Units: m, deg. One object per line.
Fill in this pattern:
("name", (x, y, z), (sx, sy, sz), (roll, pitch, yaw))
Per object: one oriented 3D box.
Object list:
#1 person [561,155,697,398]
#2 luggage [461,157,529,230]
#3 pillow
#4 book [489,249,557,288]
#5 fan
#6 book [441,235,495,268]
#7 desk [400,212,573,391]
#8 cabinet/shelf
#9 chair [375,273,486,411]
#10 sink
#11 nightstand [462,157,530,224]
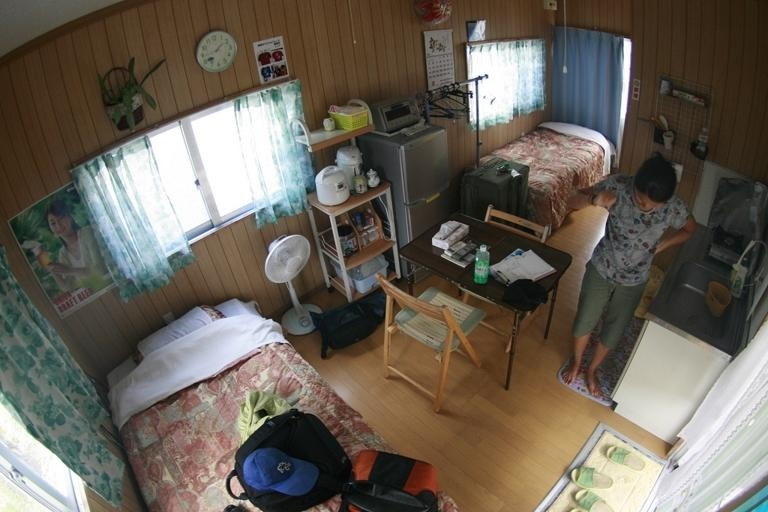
("person", (1.743, 0.176, 3.828), (0.796, 1.853, 0.506), (5, 29, -3))
("luggage", (1.223, -0.748, 5.430), (0.649, 0.501, 0.631), (-28, 36, -30))
("pillow", (-1.730, 0.596, 4.402), (0.628, 0.370, 0.746), (22, 17, 27))
("book", (1.082, 0.103, 4.020), (0.438, 0.084, 0.348), (-24, 37, -26))
("fan", (-0.901, 0.184, 4.806), (0.429, 0.970, 0.477), (-10, 31, -29))
("book", (0.674, -0.051, 4.200), (0.284, 0.070, 0.261), (-34, 48, -31))
("desk", (0.863, 0.438, 4.330), (0.832, 0.957, 1.180), (-28, 37, -33))
("cabinet/shelf", (-0.315, -0.475, 4.887), (0.791, 1.841, 0.639), (-23, 35, -26))
("chair", (0.284, 0.521, 4.160), (0.801, 1.207, 0.804), (25, 31, 38))
("sink", (2.035, 0.289, 3.266), (0.106, 0.513, 0.413), (-23, 36, -26))
("nightstand", (1.222, -0.760, 5.424), (0.633, 0.466, 0.634), (-23, 32, -27))
